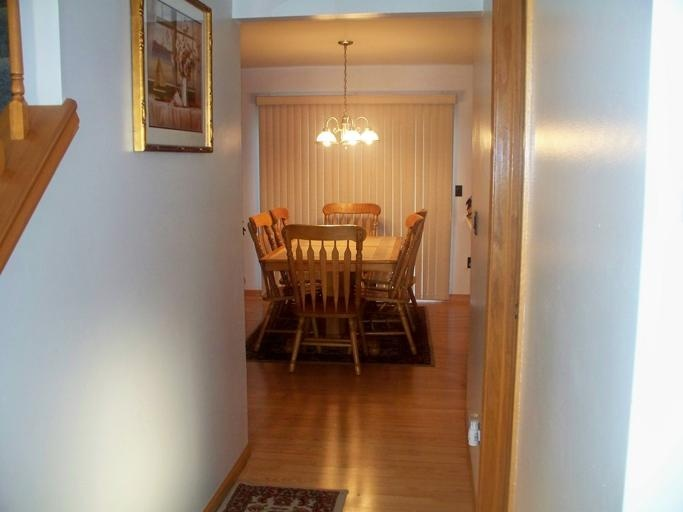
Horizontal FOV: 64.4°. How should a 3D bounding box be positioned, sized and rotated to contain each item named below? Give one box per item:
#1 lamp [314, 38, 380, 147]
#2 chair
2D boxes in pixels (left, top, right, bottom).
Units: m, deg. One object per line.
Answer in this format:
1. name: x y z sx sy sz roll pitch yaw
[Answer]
1. lamp: 0.037 -1.596 5.303 0.663 0.963 0.662 -22 30 -40
2. chair: 0.005 0.214 4.638 1.524 1.175 1.696 1 10 9
